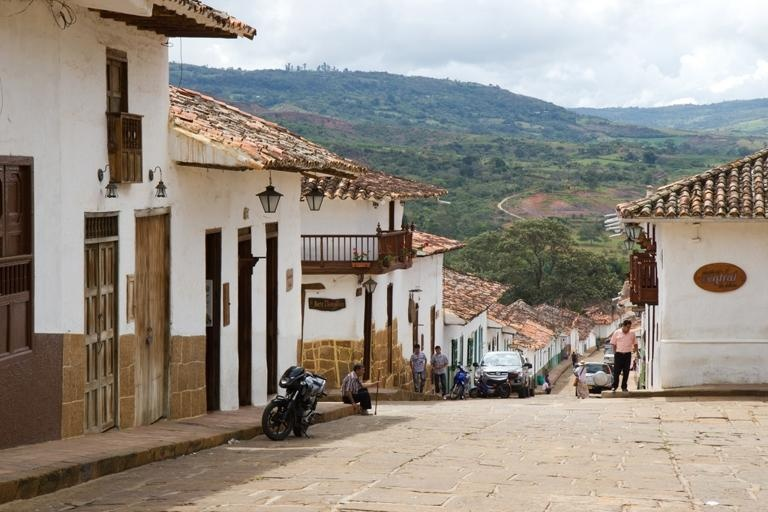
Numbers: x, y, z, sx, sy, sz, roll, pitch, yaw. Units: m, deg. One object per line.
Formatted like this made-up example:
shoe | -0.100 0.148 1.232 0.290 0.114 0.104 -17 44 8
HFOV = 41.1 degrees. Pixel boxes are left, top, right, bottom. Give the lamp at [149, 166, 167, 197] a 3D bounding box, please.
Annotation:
lamp | -3.572 -1.187 16.254 0.134 0.492 0.502 2 3 9

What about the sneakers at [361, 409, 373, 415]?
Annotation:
sneakers | -0.325 3.215 20.920 0.091 0.118 0.278 3 -14 -23

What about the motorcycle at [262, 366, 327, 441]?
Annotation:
motorcycle | -1.469 2.423 16.630 0.682 1.183 1.099 3 3 18

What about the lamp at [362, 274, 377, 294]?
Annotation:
lamp | -0.365 0.784 27.123 0.417 0.544 0.446 -1 0 -3

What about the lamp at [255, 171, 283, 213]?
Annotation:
lamp | -2.126 -1.199 19.271 0.420 0.822 0.453 1 -5 -6

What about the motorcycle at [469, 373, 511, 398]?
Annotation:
motorcycle | 3.196 3.912 30.627 1.137 0.709 0.592 2 -4 11

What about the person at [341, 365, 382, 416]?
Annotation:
person | -0.532 2.687 20.860 0.586 1.088 1.024 2 3 -1

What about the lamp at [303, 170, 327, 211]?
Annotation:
lamp | -1.544 -1.553 23.009 0.459 1.040 0.435 -2 17 -8

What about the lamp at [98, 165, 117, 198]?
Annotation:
lamp | -4.084 -1.115 15.163 0.133 0.515 0.380 2 3 15

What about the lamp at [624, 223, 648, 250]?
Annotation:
lamp | 6.825 -0.558 27.583 0.490 1.220 0.500 -9 36 -4

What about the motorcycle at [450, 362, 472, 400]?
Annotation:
motorcycle | 2.353 3.895 30.619 0.613 1.065 1.766 0 -20 12
